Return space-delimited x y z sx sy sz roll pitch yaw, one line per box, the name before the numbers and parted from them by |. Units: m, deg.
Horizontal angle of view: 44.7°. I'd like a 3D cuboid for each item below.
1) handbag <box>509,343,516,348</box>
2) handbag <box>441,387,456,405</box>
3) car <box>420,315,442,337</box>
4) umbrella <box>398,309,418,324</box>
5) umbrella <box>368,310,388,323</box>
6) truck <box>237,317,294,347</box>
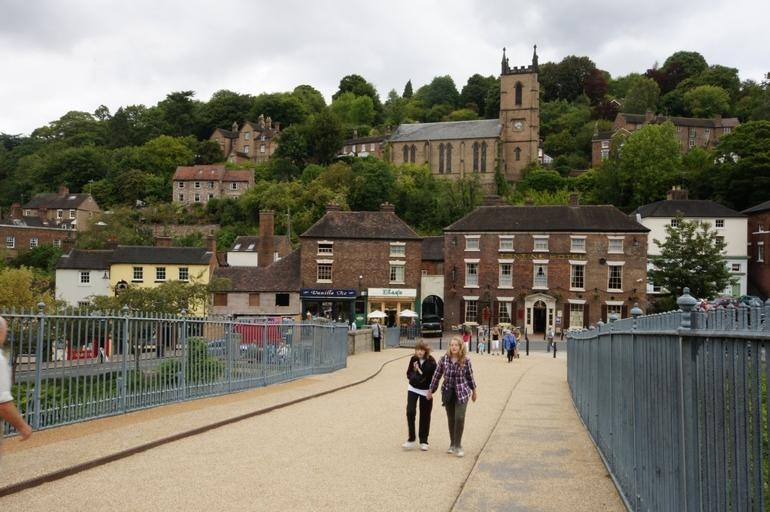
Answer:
handbag | 6.476 4.577 47.219 0.304 0.302 0.232 9 -20 -41
handbag | 1.801 3.976 26.377 0.372 0.551 0.327 1 5 0
car | 3.065 4.818 62.728 1.051 0.904 2.376 -1 -5 4
umbrella | 1.560 4.185 64.778 1.044 0.512 1.045 -4 -9 39
umbrella | -0.554 4.175 63.089 1.034 0.532 1.060 -1 -6 2
truck | -4.358 2.788 33.675 0.456 1.189 3.462 3 5 22
